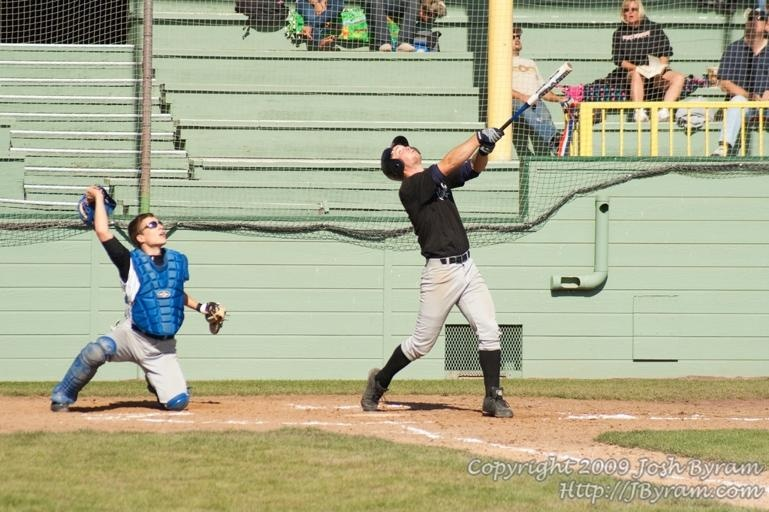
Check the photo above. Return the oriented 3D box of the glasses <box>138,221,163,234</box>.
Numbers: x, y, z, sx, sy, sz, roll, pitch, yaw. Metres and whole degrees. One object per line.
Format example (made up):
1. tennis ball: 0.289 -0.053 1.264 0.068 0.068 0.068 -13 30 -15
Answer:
1. glasses: -3.081 -0.397 24.066 0.301 0.140 0.127 -3 8 -27

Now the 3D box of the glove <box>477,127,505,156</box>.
1. glove: 1.380 -1.477 23.453 0.310 0.357 0.272 1 7 2

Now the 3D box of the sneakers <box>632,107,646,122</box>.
1. sneakers: 4.105 -2.233 28.790 0.280 0.139 0.388 0 1 0

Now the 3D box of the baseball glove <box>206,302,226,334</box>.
1. baseball glove: -2.246 0.800 24.318 0.224 0.531 0.180 -3 23 2

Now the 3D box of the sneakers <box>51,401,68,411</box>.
1. sneakers: -4.312 2.027 24.162 0.155 0.136 0.118 -18 -7 -7

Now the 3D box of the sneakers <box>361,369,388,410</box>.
1. sneakers: -0.141 1.869 24.295 0.233 0.668 0.294 6 1 -30

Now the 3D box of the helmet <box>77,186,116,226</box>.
1. helmet: -3.811 -0.677 24.255 0.553 0.547 0.243 -19 6 6

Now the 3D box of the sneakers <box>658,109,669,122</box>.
1. sneakers: 4.484 -2.249 28.938 0.157 0.215 0.352 2 7 9
